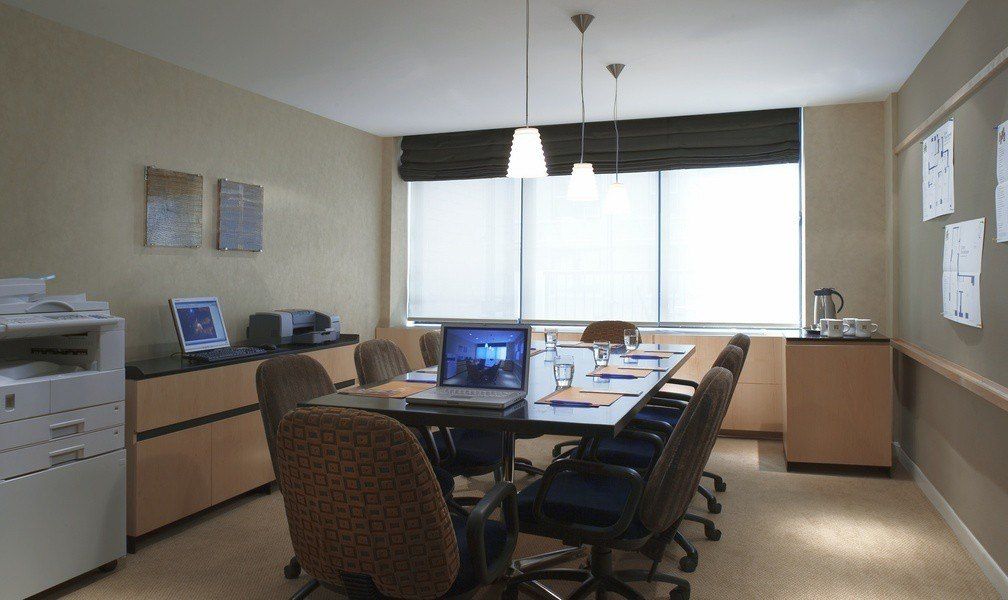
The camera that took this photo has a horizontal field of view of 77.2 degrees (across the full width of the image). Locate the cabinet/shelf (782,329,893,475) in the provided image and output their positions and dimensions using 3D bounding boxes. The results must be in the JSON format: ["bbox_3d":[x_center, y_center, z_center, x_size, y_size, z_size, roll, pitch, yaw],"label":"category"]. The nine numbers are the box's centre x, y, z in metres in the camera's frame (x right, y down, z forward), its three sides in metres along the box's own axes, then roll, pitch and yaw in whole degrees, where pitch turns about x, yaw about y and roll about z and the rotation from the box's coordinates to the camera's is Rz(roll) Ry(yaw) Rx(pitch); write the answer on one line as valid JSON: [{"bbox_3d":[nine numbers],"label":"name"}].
[{"bbox_3d":[3.423,0.908,6.342,1.076,1.275,1.939,-1,-3,22],"label":"cabinet/shelf"}]

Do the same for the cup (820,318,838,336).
[{"bbox_3d":[3.056,0.255,5.949,0.141,0.157,0.240,-1,1,-30],"label":"cup"}]

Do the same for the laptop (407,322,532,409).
[{"bbox_3d":[-0.139,0.401,3.937,0.667,0.442,0.556,0,-2,16],"label":"laptop"}]

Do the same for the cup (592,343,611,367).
[{"bbox_3d":[0.711,0.403,4.664,0.172,0.196,0.165,0,0,0],"label":"cup"}]

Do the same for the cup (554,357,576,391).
[{"bbox_3d":[0.430,0.507,4.193,0.171,0.235,0.166,-1,-1,0],"label":"cup"}]

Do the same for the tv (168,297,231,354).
[{"bbox_3d":[-2.666,0.229,5.474,0.055,0.486,0.527,-19,-7,24],"label":"tv"}]

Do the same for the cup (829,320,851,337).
[{"bbox_3d":[3.182,0.267,5.918,0.220,0.141,0.151,1,3,33],"label":"cup"}]

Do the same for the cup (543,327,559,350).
[{"bbox_3d":[0.396,0.316,5.127,0.179,0.206,0.173,0,0,0],"label":"cup"}]

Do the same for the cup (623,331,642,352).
[{"bbox_3d":[1.133,0.352,5.369,0.172,0.181,0.170,1,-7,0],"label":"cup"}]
